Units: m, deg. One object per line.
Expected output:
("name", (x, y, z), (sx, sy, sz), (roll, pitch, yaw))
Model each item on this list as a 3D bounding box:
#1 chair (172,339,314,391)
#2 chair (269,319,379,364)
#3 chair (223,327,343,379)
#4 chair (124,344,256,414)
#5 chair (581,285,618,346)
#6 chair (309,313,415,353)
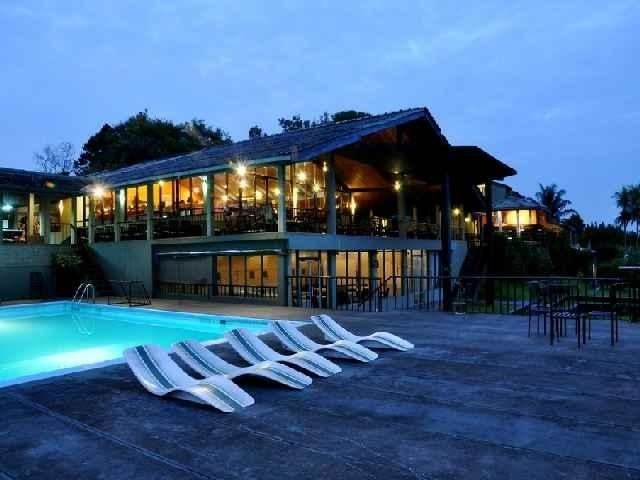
("chair", (-1.210, 1.902, 8.340), (2.199, 0.713, 0.771), (-4, -4, 24))
("chair", (0.076, 1.890, 9.943), (2.466, 0.909, 0.676), (-10, -5, 38))
("chair", (-0.615, 1.856, 8.962), (1.805, 0.659, 0.740), (0, -3, 29))
("chair", (-1.851, 1.972, 7.657), (1.681, 0.573, 0.802), (5, -1, 30))
("chair", (5.938, 1.567, 11.819), (0.690, 0.975, 0.711), (16, 8, 3))
("chair", (0.774, 1.796, 10.388), (1.492, 0.487, 0.749), (-2, -3, 23))
